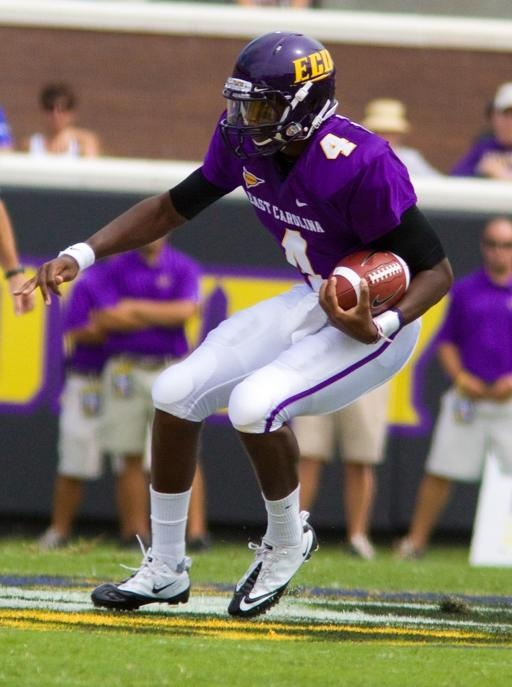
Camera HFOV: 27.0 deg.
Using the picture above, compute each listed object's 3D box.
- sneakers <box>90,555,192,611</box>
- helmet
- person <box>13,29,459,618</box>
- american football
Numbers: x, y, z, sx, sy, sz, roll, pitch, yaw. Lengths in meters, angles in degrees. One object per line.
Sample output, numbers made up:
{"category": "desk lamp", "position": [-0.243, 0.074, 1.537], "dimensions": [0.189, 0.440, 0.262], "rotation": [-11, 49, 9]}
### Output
{"category": "sneakers", "position": [-0.292, 0.603, 2.682], "dimensions": [0.278, 0.111, 0.094], "rotation": [6, -4, -37]}
{"category": "helmet", "position": [0.051, -0.638, 2.657], "dimensions": [0.335, 0.251, 0.242], "rotation": [-25, 36, -29]}
{"category": "person", "position": [-0.004, -0.039, 2.676], "dimensions": [0.934, 1.399, 0.785], "rotation": [-2, 26, -10]}
{"category": "american football", "position": [0.273, -0.151, 2.562], "dimensions": [0.135, 0.102, 0.197], "rotation": [28, 23, 36]}
